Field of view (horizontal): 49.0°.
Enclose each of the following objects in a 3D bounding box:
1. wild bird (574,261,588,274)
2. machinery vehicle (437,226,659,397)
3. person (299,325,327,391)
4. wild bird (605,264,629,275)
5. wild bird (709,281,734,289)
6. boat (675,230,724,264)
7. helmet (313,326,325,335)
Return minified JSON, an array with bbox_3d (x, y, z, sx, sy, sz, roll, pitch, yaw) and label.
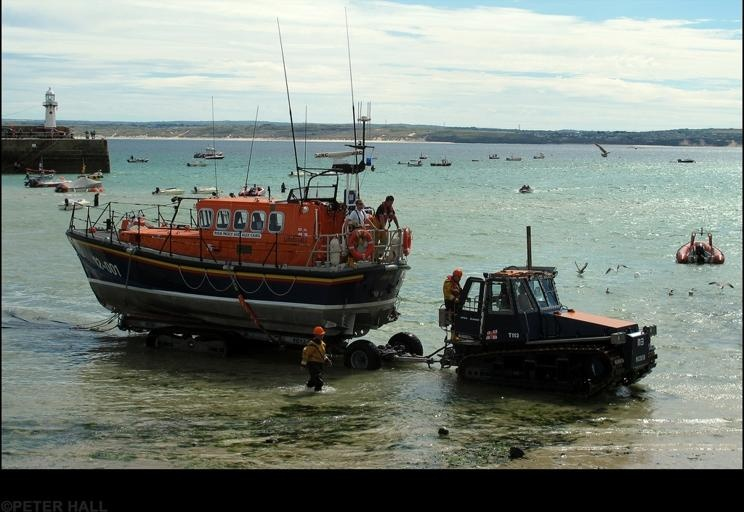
[{"bbox_3d":[8.973,0.486,35.635,0.507,0.487,0.721,-17,-7,33],"label":"wild bird"},{"bbox_3d":[5.347,1.596,24.855,7.575,3.291,3.199,5,13,29],"label":"machinery vehicle"},{"bbox_3d":[-1.459,2.451,20.202,0.653,1.532,1.281,-4,4,-4],"label":"person"},{"bbox_3d":[10.666,0.542,35.915,1.117,0.163,0.675,-7,7,-16],"label":"wild bird"},{"bbox_3d":[13.879,1.143,32.637,0.715,0.128,0.333,9,-37,-36],"label":"wild bird"},{"bbox_3d":[15.686,-0.351,39.289,2.416,1.097,3.011,4,13,13],"label":"boat"},{"bbox_3d":[-1.305,1.785,19.759,0.277,0.116,0.313,10,21,32],"label":"helmet"}]
